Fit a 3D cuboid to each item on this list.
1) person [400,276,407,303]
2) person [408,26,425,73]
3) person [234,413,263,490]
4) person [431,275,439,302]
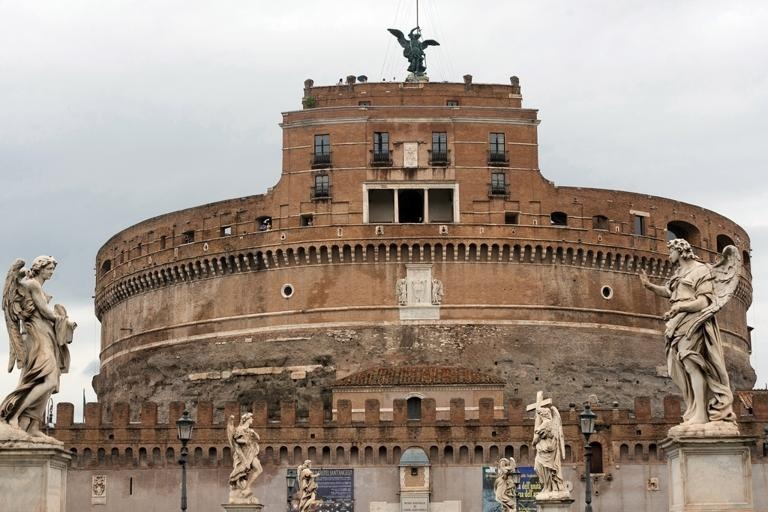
[{"bbox_3d":[1.068,2.024,103.871,0.478,1.438,0.415,0,-24,-4],"label":"person"},{"bbox_3d":[2.029,-12.317,113.381,0.889,2.929,1.316,-1,-24,-1],"label":"person"},{"bbox_3d":[-5.408,7.402,71.967,1.096,3.073,1.536,0,-24,-4],"label":"person"},{"bbox_3d":[2.984,2.002,103.822,0.478,1.296,0.433,0,-24,-4],"label":"person"}]
